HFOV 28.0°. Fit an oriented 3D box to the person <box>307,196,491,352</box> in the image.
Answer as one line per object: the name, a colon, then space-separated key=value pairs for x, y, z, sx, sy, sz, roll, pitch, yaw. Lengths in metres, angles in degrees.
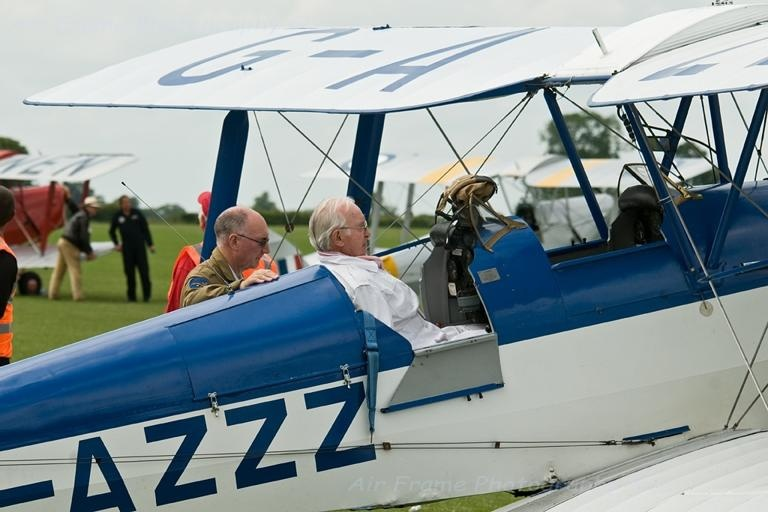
person: x=0.116 y=0.184 z=12.129 sx=1.063 sy=1.427 sz=0.865 roll=-18 pitch=7 yaw=-17

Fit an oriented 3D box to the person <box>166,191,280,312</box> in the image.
person: x=-1.675 y=-0.041 z=13.318 sx=1.233 sy=0.983 sz=0.410 roll=-9 pitch=7 yaw=-36
